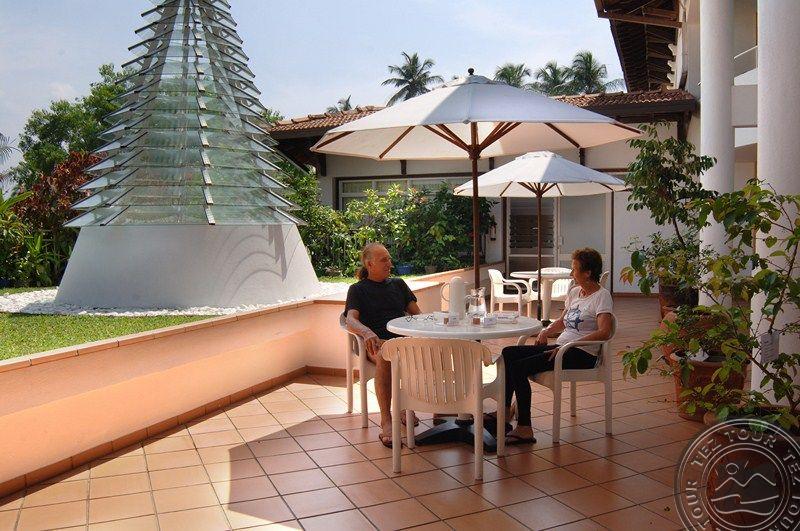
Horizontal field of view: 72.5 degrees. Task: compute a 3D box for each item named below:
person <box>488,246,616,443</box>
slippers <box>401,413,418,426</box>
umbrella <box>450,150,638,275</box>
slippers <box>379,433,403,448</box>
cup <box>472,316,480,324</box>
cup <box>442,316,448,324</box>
[{"bbox_3d":[1.526,0.729,5.240,0.990,1.744,1.034,3,8,22],"label":"person"},{"bbox_3d":[0.114,1.531,5.442,0.116,0.079,0.288,-1,4,-14],"label":"slippers"},{"bbox_3d":[2.546,-0.573,9.012,2.396,1.614,2.410,-3,6,-23],"label":"umbrella"},{"bbox_3d":[-0.102,1.605,5.040,0.120,0.065,0.272,1,-2,-34],"label":"slippers"},{"bbox_3d":[0.691,0.488,4.906,0.064,0.045,0.063,-1,4,0],"label":"cup"},{"bbox_3d":[0.419,0.498,4.982,0.050,0.068,0.033,-4,9,-26],"label":"cup"}]
